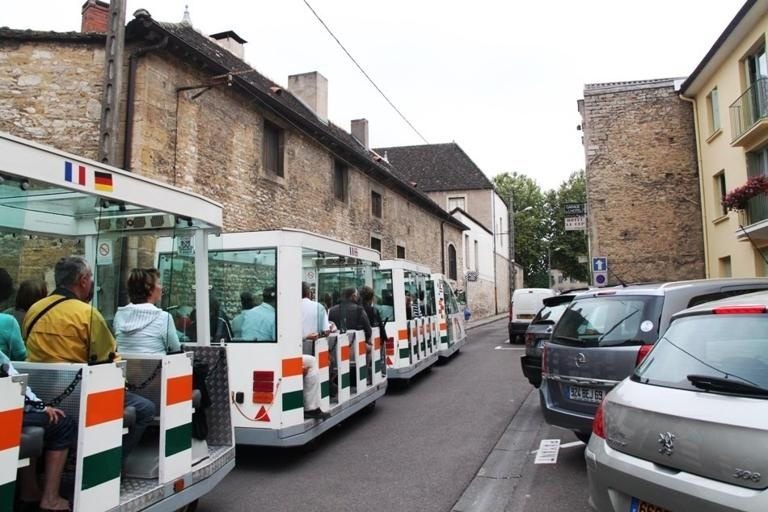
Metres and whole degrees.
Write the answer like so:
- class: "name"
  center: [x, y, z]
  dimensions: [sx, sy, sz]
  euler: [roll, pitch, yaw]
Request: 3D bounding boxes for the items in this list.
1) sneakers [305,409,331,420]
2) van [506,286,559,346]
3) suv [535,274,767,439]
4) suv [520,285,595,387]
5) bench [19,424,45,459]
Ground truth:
- class: "sneakers"
  center: [-0.983, 2.273, 8.674]
  dimensions: [0.401, 0.175, 0.126]
  euler: [6, -5, -41]
- class: "van"
  center: [5.051, 2.082, 21.437]
  dimensions: [1.646, 1.721, 3.117]
  euler: [-1, -1, 22]
- class: "suv"
  center: [3.686, 1.235, 7.997]
  dimensions: [2.977, 1.462, 1.697]
  euler: [-7, 0, -33]
- class: "suv"
  center: [3.446, 1.451, 12.044]
  dimensions: [1.168, 1.141, 2.199]
  euler: [-1, 1, 22]
- class: "bench"
  center: [-3.144, 1.638, 5.340]
  dimensions: [0.233, 0.241, 0.240]
  euler: [0, 2, 4]
